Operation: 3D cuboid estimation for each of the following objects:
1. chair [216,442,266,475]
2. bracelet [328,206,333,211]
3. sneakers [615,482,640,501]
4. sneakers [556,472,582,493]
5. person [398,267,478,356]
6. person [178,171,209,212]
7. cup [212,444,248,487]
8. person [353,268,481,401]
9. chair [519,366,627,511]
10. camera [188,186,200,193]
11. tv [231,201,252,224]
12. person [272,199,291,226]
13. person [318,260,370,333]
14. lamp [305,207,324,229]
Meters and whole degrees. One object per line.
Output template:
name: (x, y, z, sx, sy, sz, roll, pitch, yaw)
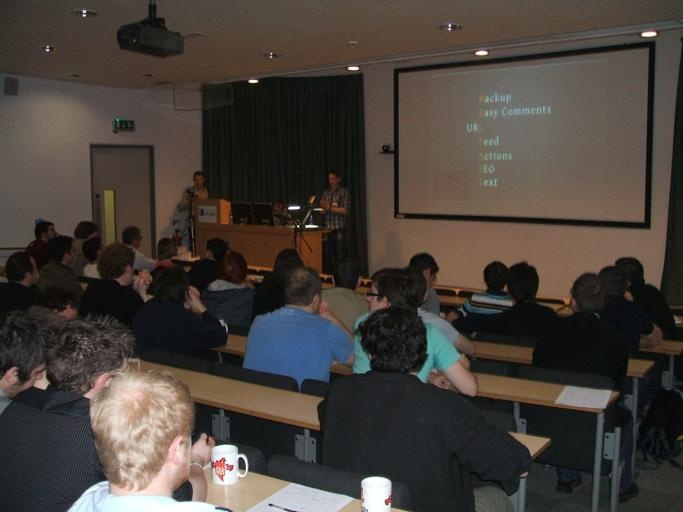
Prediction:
chair: (-0.411, 0.826, 2.245, 0.165, 0.134, 0.108, 10, -1, 12)
bracelet: (-0.180, -0.729, 8.276, 0.055, 0.073, 0.095, -2, -3, 45)
sneakers: (1.738, 1.416, 3.347, 0.091, 0.107, 0.123, 0, -7, 40)
sneakers: (1.406, 1.412, 3.389, 0.068, 0.087, 0.195, 5, 11, 39)
person: (0.667, 0.358, 3.672, 0.300, 0.298, 0.849, 15, -17, 44)
person: (-2.478, -1.111, 9.163, 0.395, 0.619, 1.430, 0, 6, -18)
cup: (-0.426, 0.799, 2.093, 0.137, 0.122, 0.095, 3, -7, -9)
person: (0.391, 0.402, 2.840, 0.437, 0.547, 0.944, 4, -21, 9)
chair: (1.262, 0.981, 3.117, 0.516, 0.421, 0.328, 0, 5, 36)
camera: (-2.523, -1.107, 9.192, 0.227, 0.092, 0.136, 7, 8, 44)
tv: (-1.426, -0.670, 8.059, 0.358, 0.400, 0.269, 6, 9, 31)
person: (-0.878, -0.601, 7.874, 0.223, 0.323, 0.800, 1, 6, -7)
person: (0.009, 0.294, 4.006, 0.300, 0.905, 0.331, 3, 15, 4)
lamp: (-0.478, -0.603, 9.032, 0.300, 0.397, 0.320, 1, -1, -12)
